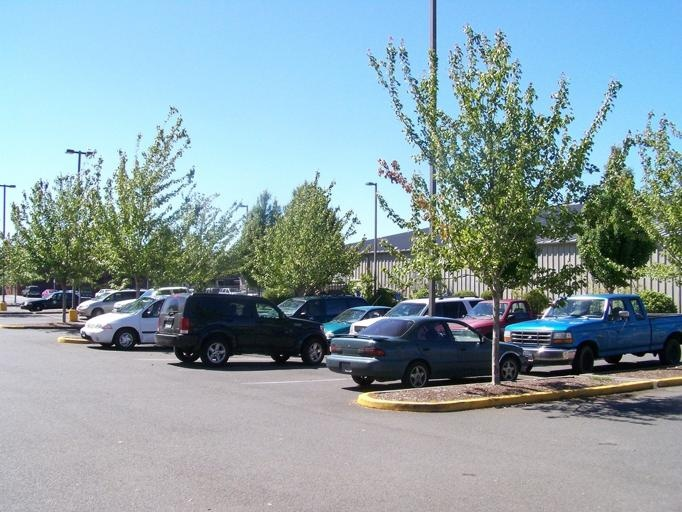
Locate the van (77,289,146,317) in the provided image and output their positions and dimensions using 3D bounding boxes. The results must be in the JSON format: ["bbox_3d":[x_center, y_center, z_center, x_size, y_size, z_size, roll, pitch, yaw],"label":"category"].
[{"bbox_3d":[-12.345,2.508,32.193,3.812,1.520,1.928,0,-1,-32],"label":"van"}]

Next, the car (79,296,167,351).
[{"bbox_3d":[-7.998,2.550,22.387,3.270,1.717,2.047,4,-6,-26],"label":"car"}]

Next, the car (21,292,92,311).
[{"bbox_3d":[-23.688,3.794,49.901,4.077,1.443,1.798,4,-6,-35],"label":"car"}]

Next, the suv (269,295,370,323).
[{"bbox_3d":[-0.768,1.996,23.548,2.600,1.203,1.334,4,-4,-27],"label":"suv"}]

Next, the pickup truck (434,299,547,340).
[{"bbox_3d":[5.068,2.043,19.842,2.191,1.159,1.308,4,-7,-33],"label":"pickup truck"}]

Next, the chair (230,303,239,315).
[{"bbox_3d":[-3.117,1.570,17.708,0.201,0.329,0.101,1,0,-26],"label":"chair"}]

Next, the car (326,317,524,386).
[{"bbox_3d":[1.943,2.227,14.397,4.173,1.484,1.952,-3,-1,-33],"label":"car"}]

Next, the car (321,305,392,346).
[{"bbox_3d":[0.358,2.347,20.955,2.257,0.888,1.025,3,-6,-40],"label":"car"}]
